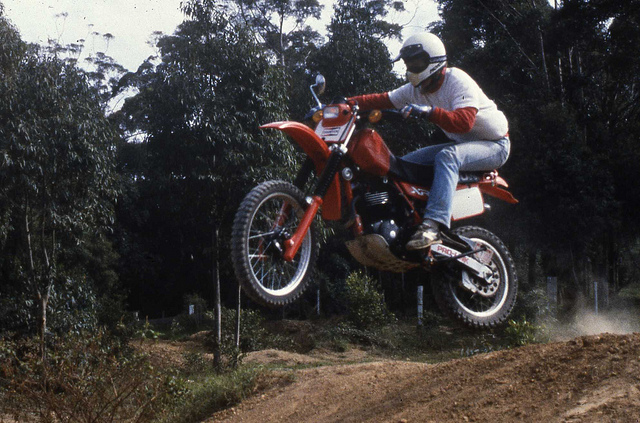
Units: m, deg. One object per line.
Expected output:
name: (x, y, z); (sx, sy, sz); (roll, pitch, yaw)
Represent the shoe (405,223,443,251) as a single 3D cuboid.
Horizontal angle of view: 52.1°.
shoe: (2.046, 0.529, 12.991); (0.348, 0.409, 0.758); (-14, -16, 41)
